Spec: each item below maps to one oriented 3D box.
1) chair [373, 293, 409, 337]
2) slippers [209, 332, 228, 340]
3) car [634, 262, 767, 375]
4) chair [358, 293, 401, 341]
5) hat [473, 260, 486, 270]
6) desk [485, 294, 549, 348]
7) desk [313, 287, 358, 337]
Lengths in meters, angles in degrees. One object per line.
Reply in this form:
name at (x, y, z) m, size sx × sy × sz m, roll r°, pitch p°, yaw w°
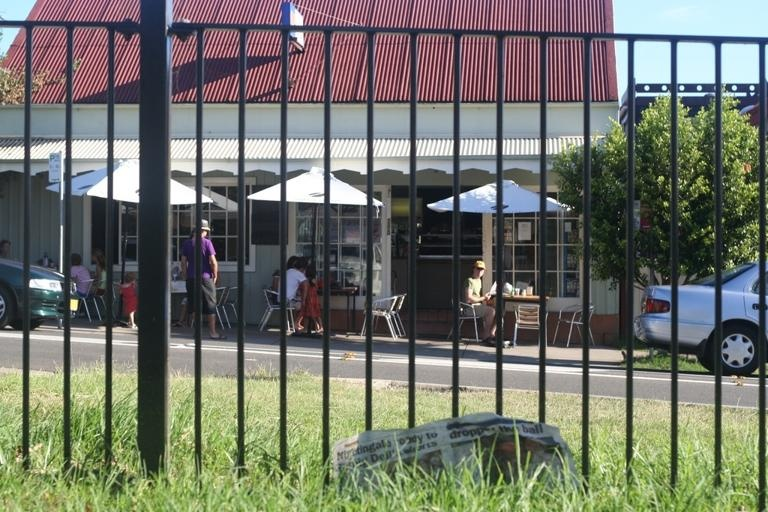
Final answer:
chair at (0.073, 1.157, 20.810) m, size 0.699 × 1.083 × 0.819 m, roll 2°, pitch -3°, yaw 9°
slippers at (-3.126, 1.494, 19.542) m, size 0.268 × 0.108 × 0.150 m, roll -1°, pitch 3°, yaw -2°
car at (5.212, 1.023, 17.050) m, size 1.754 × 1.805 × 0.763 m, roll 0°, pitch -1°, yaw 22°
chair at (-0.062, 1.111, 20.720) m, size 0.739 × 0.927 × 0.757 m, roll 4°, pitch 13°, yaw -24°
hat at (1.879, 0.153, 19.959) m, size 0.205 × 0.179 × 0.365 m, roll 3°, pitch -9°, yaw 4°
desk at (2.440, 0.820, 18.696) m, size 1.065 × 0.918 × 1.735 m, roll 1°, pitch 4°, yaw 10°
desk at (-0.860, 1.136, 21.147) m, size 0.995 × 1.124 × 0.924 m, roll 0°, pitch 4°, yaw 13°
